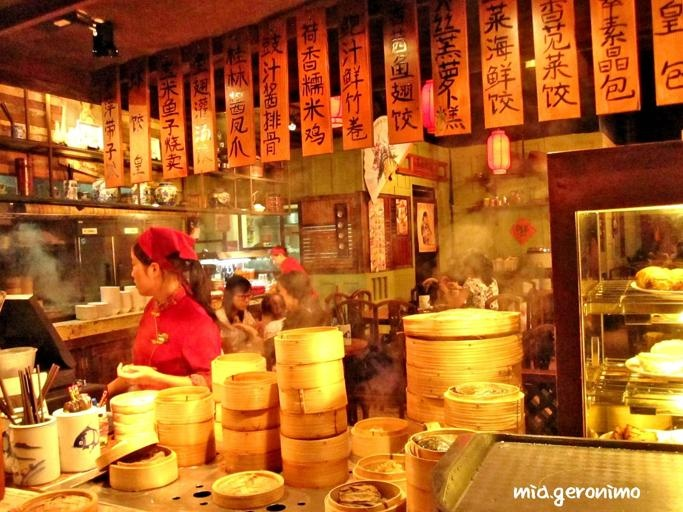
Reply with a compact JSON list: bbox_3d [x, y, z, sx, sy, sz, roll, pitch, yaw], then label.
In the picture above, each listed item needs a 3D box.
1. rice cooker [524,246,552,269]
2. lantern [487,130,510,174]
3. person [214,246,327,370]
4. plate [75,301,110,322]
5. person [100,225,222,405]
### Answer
[{"bbox_3d":[3.677,0.048,10.370,0.438,0.445,0.625,2,-1,-5],"label":"rice cooker"},{"bbox_3d":[2.482,-1.669,8.743,0.328,0.685,0.390,-4,3,12],"label":"lantern"},{"bbox_3d":[-0.665,0.541,5.629,0.957,1.565,0.929,0,-4,7],"label":"person"},{"bbox_3d":[-2.911,0.640,6.370,0.186,0.146,0.333,-3,-3,23],"label":"plate"},{"bbox_3d":[-1.027,0.286,3.327,0.527,0.848,0.753,-5,3,-16],"label":"person"}]
